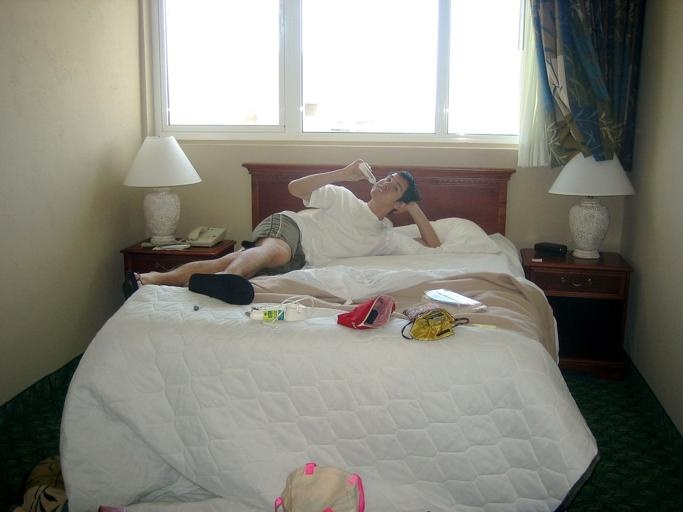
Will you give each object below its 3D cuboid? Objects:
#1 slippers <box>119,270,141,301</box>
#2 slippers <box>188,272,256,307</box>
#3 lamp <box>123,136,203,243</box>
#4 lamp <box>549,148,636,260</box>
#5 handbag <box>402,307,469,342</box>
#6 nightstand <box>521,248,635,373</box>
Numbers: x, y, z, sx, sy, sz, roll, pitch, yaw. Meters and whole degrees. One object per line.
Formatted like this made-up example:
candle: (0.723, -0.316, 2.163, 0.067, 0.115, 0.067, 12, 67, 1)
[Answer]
slippers: (-1.055, 0.154, 2.619, 0.045, 0.134, 0.099, 19, 1, -21)
slippers: (-0.548, 0.148, 2.464, 0.349, 0.123, 0.141, 5, 0, 20)
lamp: (-1.255, -0.462, 3.658, 0.486, 0.727, 0.505, 3, 7, 14)
lamp: (1.633, -0.360, 3.417, 0.495, 0.739, 0.504, 6, 10, 34)
handbag: (0.360, 0.265, 2.104, 0.193, 0.065, 0.130, -4, 11, -3)
nightstand: (1.572, 0.349, 3.431, 0.612, 0.751, 0.493, 1, 15, 29)
